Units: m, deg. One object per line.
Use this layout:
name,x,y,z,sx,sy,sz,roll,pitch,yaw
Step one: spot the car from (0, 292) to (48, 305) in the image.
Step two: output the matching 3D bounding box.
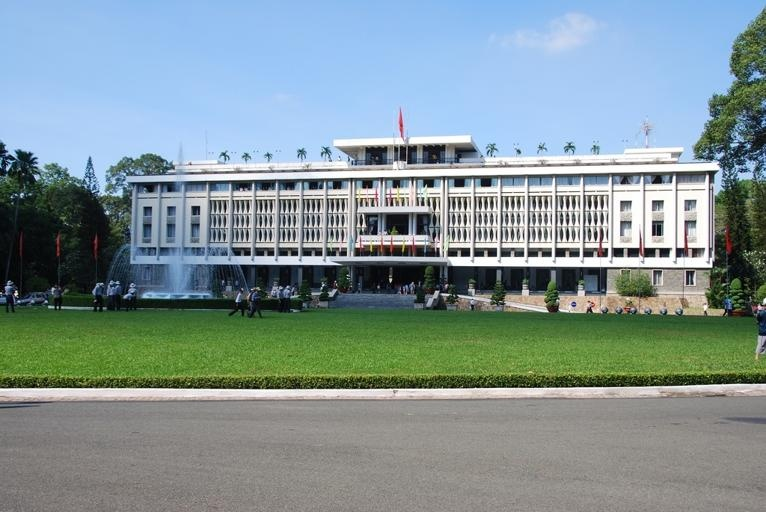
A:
car,-30.864,3.527,89.882,2.843,0.911,1.872,6,-8,-43

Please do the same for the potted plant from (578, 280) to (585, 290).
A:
potted plant,20.143,2.770,106.807,0.760,0.989,0.659,8,17,26

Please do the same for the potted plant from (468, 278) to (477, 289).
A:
potted plant,9.183,2.628,108.031,1.007,1.060,0.973,0,-8,2

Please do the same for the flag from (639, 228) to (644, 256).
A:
flag,26.794,-1.483,108.699,0.386,2.774,0.993,0,-3,14

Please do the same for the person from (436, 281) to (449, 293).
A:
person,5.974,2.903,105.358,1.102,1.127,1.012,-3,-4,10

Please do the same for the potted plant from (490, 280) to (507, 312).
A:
potted plant,10.434,3.446,95.134,1.233,2.551,3.301,1,-3,6

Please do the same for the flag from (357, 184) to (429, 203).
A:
flag,1.257,-6.974,116.428,7.604,2.102,0.899,0,-3,16
